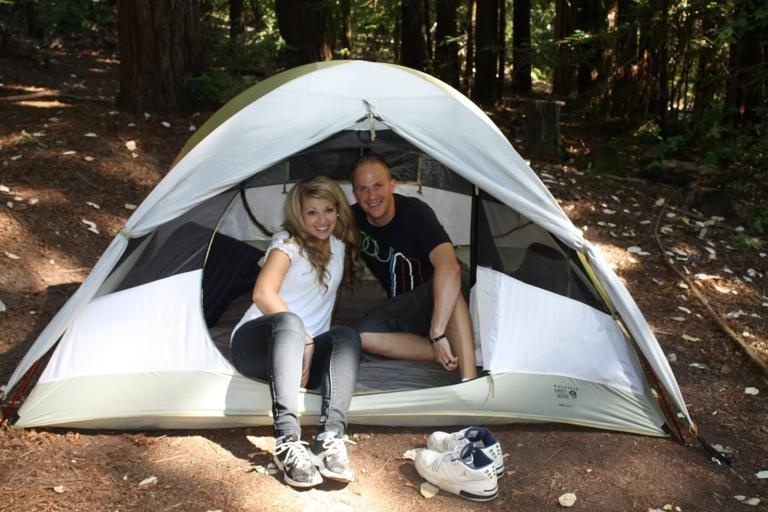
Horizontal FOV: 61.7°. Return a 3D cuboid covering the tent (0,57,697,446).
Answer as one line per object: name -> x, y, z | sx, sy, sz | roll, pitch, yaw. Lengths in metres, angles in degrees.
tent -> -0.323, -0.316, 6.124 | 5.923, 2.935, 2.727 | 1, 18, 0

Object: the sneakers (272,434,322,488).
sneakers -> -0.635, 1.538, 4.856 | 0.265, 0.233, 0.485 | -11, 23, -34

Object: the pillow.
pillow -> -1.740, 0.138, 6.063 | 0.935, 0.222, 0.876 | 33, 36, -25

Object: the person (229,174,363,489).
person -> -0.687, 0.536, 5.220 | 0.972, 2.139, 1.490 | 0, 18, -3
